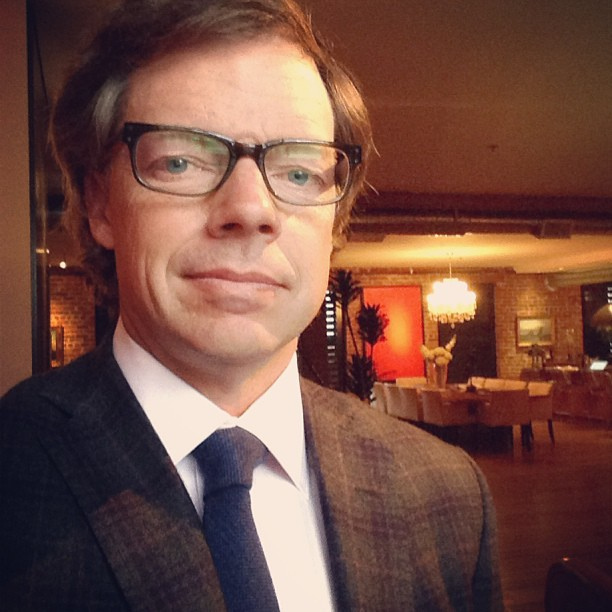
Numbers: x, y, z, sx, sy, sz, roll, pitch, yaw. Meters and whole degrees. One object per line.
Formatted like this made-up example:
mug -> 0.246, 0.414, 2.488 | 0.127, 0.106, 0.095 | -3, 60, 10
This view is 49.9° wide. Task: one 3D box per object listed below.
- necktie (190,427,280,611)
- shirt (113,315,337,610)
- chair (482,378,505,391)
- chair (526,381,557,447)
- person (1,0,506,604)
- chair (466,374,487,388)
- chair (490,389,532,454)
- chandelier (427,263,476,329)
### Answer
necktie -> -0.095, 0.269, 0.853 | 0.091, 0.205, 0.143 | 1, -1, -18
shirt -> -0.078, 0.243, 0.916 | 0.266, 0.453, 0.143 | -3, -4, -18
chair -> 2.403, 1.004, 8.439 | 0.181, 0.208, 0.192 | 13, -14, -37
chair -> 2.506, 1.163, 7.121 | 0.304, 0.489, 0.297 | -2, 11, -10
person -> -0.083, -0.004, 1.025 | 0.701, 0.907, 0.421 | 1, -2, -26
chair -> 2.426, 1.070, 9.406 | 0.266, 0.257, 0.282 | 1, -15, 19
chair -> 2.116, 1.111, 6.828 | 0.425, 0.819, 0.485 | 0, 6, -2
chandelier -> 1.825, -0.042, 8.244 | 0.539, 0.685, 0.608 | -2, -1, -6
